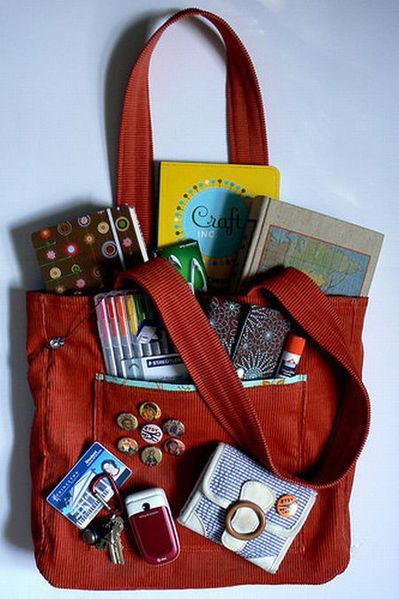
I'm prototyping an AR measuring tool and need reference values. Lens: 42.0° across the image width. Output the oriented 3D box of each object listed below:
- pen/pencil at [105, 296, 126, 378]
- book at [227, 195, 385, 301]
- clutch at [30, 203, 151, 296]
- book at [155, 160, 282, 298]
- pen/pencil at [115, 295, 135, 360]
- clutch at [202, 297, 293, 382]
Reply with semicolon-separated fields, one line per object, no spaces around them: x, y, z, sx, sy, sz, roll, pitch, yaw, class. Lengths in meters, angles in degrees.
-0.110;0.046;0.676;0.015;0.120;0.018;-6;12;15;pen/pencil
0.164;-0.095;0.712;0.161;0.155;0.036;12;14;-8;book
-0.155;-0.070;0.708;0.168;0.116;0.043;-18;8;2;clutch
0.001;-0.113;0.786;0.045;0.204;0.214;-3;7;45;book
-0.099;0.036;0.676;0.017;0.088;0.016;-9;8;8;pen/pencil
0.064;0.051;0.687;0.109;0.101;0.055;6;26;9;clutch
